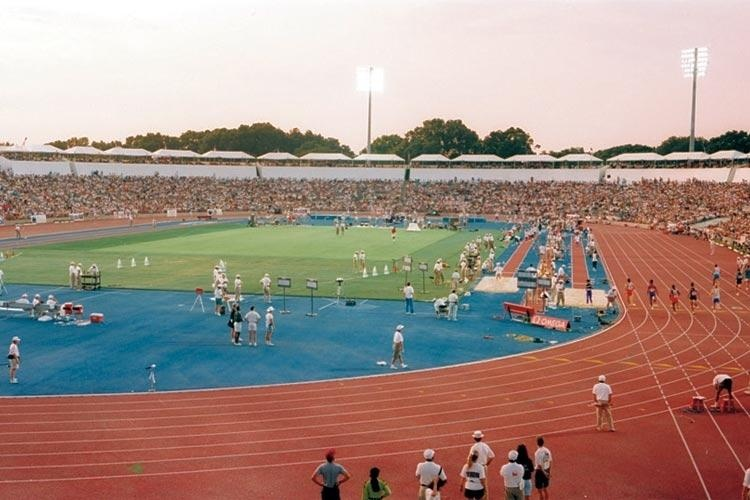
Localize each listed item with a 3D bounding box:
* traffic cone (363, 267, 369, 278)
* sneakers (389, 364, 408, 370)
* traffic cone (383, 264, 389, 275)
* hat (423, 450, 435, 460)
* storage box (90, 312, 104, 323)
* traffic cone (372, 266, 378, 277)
[{"bbox_3d":[-0.583,1.510,45.086,0.569,0.705,0.449,-6,12,-10],"label":"traffic cone"},{"bbox_3d":[0.956,4.612,27.528,0.707,0.265,0.220,-1,5,6],"label":"sneakers"},{"bbox_3d":[0.759,1.363,47.051,0.530,0.530,0.506,-19,24,-38],"label":"traffic cone"},{"bbox_3d":[1.436,5.382,18.414,0.200,0.313,0.410,3,10,17],"label":"hat"},{"bbox_3d":[-12.838,3.158,32.567,0.515,0.343,0.485,0,-1,7],"label":"storage box"},{"bbox_3d":[0.038,1.481,46.128,0.516,0.626,0.464,-8,16,-24],"label":"traffic cone"}]
